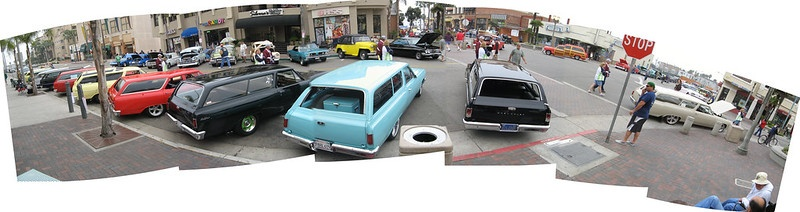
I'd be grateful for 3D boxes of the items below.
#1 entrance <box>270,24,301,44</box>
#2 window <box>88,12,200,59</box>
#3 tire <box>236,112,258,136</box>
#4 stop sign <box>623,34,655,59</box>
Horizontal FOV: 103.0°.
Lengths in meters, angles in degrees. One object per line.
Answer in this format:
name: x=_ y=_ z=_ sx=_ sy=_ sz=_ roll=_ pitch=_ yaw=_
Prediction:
entrance: x=-6.353 y=-4.302 z=18.594 sx=1.052 sy=0.911 sz=1.415 roll=-15 pitch=20 yaw=-24
window: x=-14.976 y=-4.159 z=18.731 sx=6.470 sy=2.425 sz=2.948 roll=-3 pitch=13 yaw=-16
tire: x=-8.068 y=0.920 z=17.369 sx=1.963 sy=1.163 sz=0.664 roll=-3 pitch=3 yaw=37
stop sign: x=12.122 y=-2.998 z=16.424 sx=2.792 sy=1.105 sz=0.236 roll=5 pitch=2 yaw=-26
